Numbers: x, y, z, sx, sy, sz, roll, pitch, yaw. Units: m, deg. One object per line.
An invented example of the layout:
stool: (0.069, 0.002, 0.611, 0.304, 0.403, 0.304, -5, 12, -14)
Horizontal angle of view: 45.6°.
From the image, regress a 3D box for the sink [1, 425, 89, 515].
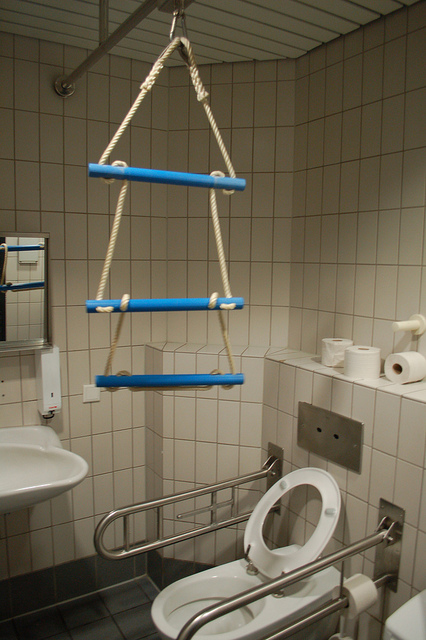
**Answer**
sink: (-0.678, 0.582, 1.997, 0.283, 0.132, 0.351, 0, 4, -30)

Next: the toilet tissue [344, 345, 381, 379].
toilet tissue: (0.540, 0.142, 1.848, 0.113, 0.090, 0.115, 2, 5, 21)

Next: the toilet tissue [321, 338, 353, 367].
toilet tissue: (0.495, 0.122, 2.042, 0.111, 0.105, 0.109, 2, 6, 37)

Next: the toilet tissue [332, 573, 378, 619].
toilet tissue: (0.439, 0.852, 1.546, 0.097, 0.115, 0.068, -2, 4, -34)
